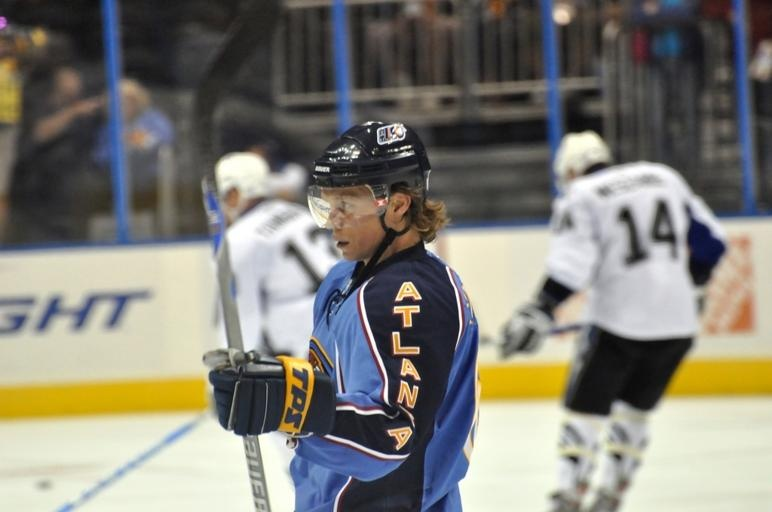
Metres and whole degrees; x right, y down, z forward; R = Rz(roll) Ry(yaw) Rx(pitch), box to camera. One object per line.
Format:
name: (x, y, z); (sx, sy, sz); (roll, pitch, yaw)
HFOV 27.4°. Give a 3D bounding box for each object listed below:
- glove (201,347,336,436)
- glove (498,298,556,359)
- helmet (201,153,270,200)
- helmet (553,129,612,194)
glove: (-0.656, 0.780, 8.959); (0.573, 0.290, 0.483); (3, 3, 6)
glove: (0.926, 0.492, 10.597); (0.280, 0.395, 0.129); (45, 5, 27)
helmet: (-1.048, -0.570, 11.353); (0.381, 0.321, 0.276); (17, 21, 8)
helmet: (1.352, -0.680, 11.094); (0.351, 0.434, 0.460); (-5, 23, 7)
